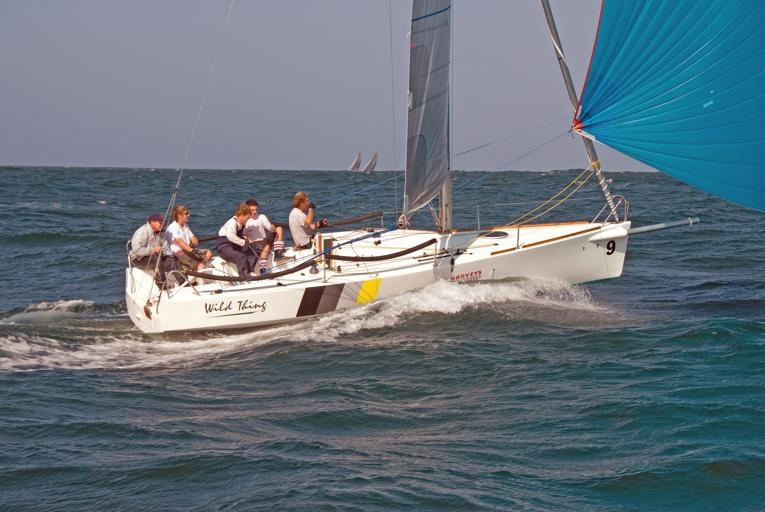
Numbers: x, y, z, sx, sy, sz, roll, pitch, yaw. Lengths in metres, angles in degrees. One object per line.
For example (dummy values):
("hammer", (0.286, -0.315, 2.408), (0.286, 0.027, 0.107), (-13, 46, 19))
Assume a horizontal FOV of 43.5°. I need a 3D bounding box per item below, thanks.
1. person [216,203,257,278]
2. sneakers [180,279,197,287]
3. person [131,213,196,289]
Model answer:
("person", (-2.264, -0.283, 15.051), (0.681, 1.103, 0.494), (10, 11, 21))
("sneakers", (-2.928, 0.383, 14.518), (0.233, 0.115, 0.453), (2, 7, -10))
("person", (-3.395, -0.091, 14.599), (0.616, 1.112, 1.029), (-3, 12, -40))
